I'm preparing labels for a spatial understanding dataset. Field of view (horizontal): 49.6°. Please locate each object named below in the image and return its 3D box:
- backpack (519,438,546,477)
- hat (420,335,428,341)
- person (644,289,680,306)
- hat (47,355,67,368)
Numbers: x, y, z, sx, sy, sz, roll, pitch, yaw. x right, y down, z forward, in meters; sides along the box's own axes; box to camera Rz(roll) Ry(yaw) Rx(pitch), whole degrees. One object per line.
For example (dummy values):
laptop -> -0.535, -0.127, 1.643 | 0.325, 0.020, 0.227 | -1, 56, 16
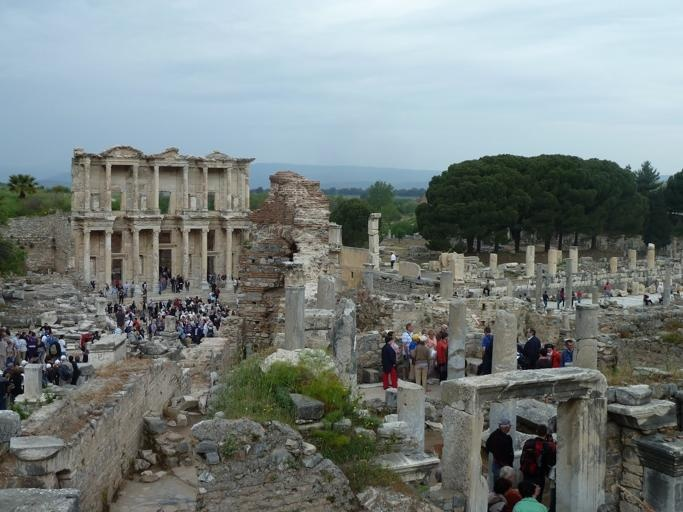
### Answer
backpack -> 3.178, 3.339, 12.273 | 0.388, 0.656, 0.223 | 1, 2, 15
hat -> 1.991, 1.996, 17.995 | 0.131, 0.074, 0.132 | -5, 4, -7
person -> 16.436, 2.114, 37.952 | 1.224, 0.504, 0.819 | -3, -2, 14
hat -> -6.596, 2.441, 17.125 | 0.498, 0.206, 0.374 | 1, 5, 28
